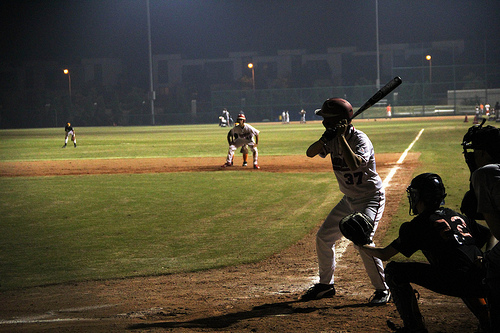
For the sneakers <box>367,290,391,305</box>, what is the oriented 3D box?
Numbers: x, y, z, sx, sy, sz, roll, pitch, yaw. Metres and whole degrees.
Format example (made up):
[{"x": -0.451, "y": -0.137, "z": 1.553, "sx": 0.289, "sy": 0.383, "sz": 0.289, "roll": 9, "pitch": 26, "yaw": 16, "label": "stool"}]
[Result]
[{"x": 2.482, "y": 2.515, "z": 12.212, "sx": 0.443, "sy": 0.193, "sz": 0.217, "roll": -4, "pitch": 7, "yaw": 34, "label": "sneakers"}]

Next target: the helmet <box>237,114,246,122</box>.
[{"x": -0.267, "y": -1.754, "z": 22.889, "sx": 0.357, "sy": 0.350, "sz": 0.385, "roll": 1, "pitch": 0, "yaw": -4, "label": "helmet"}]

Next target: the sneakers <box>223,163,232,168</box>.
[{"x": -0.752, "y": -0.043, "z": 23.466, "sx": 0.354, "sy": 0.140, "sz": 0.127, "roll": 0, "pitch": 5, "yaw": -1, "label": "sneakers"}]
